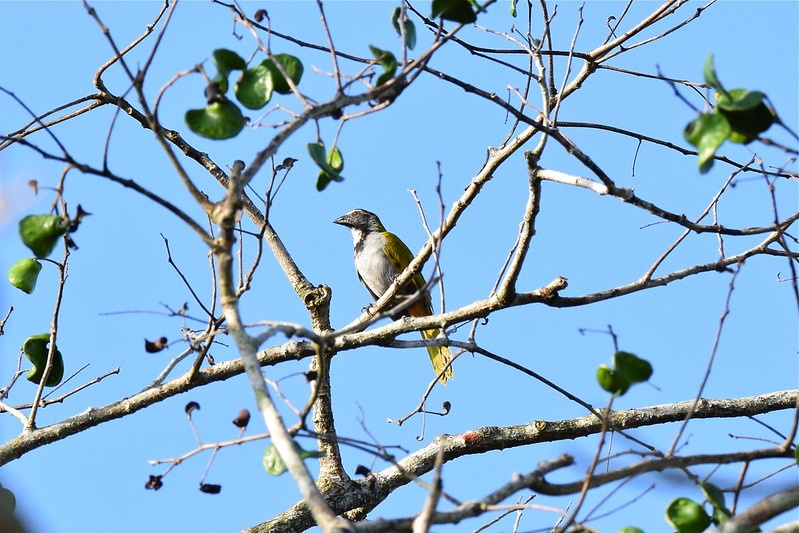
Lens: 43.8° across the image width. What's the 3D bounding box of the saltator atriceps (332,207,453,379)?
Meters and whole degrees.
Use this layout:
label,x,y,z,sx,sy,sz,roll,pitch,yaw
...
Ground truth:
label,x,y,z,sx,sy,sz,roll,pitch,yaw
saltator atriceps,-0.003,0.247,9.754,1.064,1.576,0.507,19,-43,-27
